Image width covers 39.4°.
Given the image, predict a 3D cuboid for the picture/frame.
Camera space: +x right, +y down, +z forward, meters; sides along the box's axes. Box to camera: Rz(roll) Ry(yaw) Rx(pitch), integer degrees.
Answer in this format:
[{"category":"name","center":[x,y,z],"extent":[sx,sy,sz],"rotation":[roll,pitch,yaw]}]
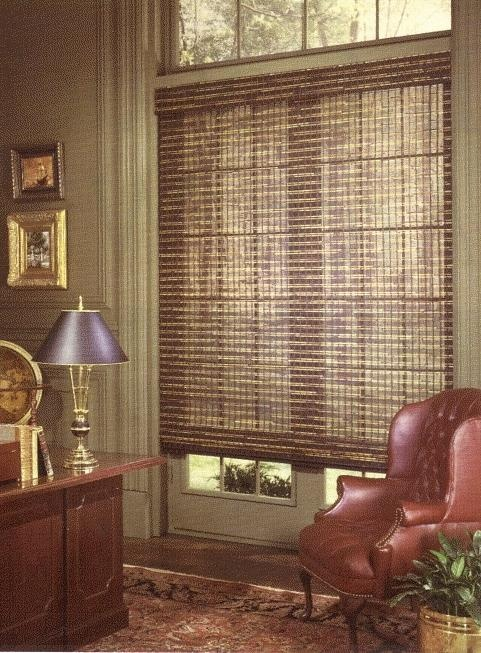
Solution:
[{"category":"picture/frame","center":[-1.376,-0.735,4.542],"extent":[0.527,1.006,0.120],"rotation":[0,0,35]}]

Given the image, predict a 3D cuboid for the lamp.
[{"category":"lamp","center":[-0.599,0.220,2.558],"extent":[0.326,0.631,0.338],"rotation":[-1,-2,1]}]
